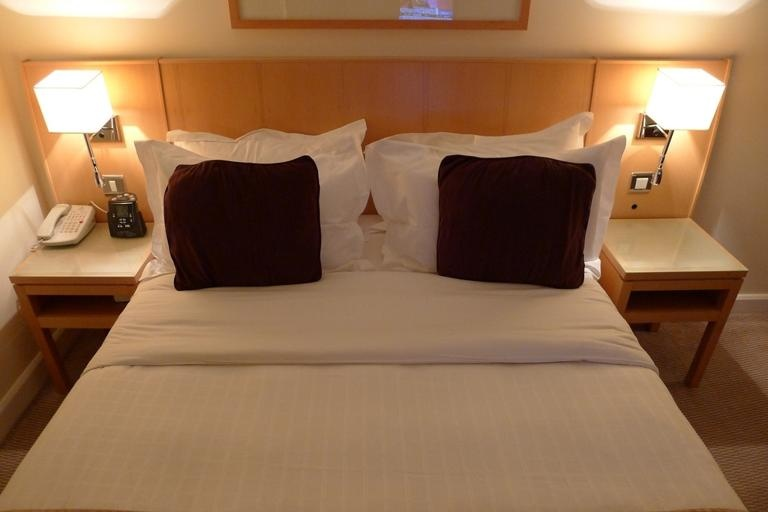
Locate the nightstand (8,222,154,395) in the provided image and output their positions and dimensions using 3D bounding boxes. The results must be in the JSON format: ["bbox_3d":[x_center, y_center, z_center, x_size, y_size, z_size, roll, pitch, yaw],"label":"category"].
[{"bbox_3d":[-1.537,0.245,2.717,0.665,0.809,0.538,10,45,2],"label":"nightstand"}]

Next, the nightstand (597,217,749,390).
[{"bbox_3d":[1.503,0.267,3.150,0.697,0.779,0.630,1,30,-1],"label":"nightstand"}]

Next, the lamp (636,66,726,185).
[{"bbox_3d":[1.559,-0.652,2.942,0.326,0.594,0.257,8,25,-1],"label":"lamp"}]

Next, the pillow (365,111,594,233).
[{"bbox_3d":[0.810,-0.472,3.246,0.972,0.295,1.089,5,-14,17],"label":"pillow"}]

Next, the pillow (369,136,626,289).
[{"bbox_3d":[0.527,-0.208,2.599,0.781,0.482,0.211,7,0,6],"label":"pillow"}]

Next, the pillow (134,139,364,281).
[{"bbox_3d":[-0.614,-0.212,2.586,0.727,0.448,0.192,-4,3,-3],"label":"pillow"}]

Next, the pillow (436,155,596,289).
[{"bbox_3d":[0.615,-0.154,2.520,0.609,0.467,0.229,3,27,6],"label":"pillow"}]

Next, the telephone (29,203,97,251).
[{"bbox_3d":[-1.733,-0.170,2.942,0.223,0.109,0.276,2,49,0],"label":"telephone"}]

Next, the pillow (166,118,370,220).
[{"bbox_3d":[-0.675,-0.434,2.809,1.058,0.181,0.398,5,31,29],"label":"pillow"}]
